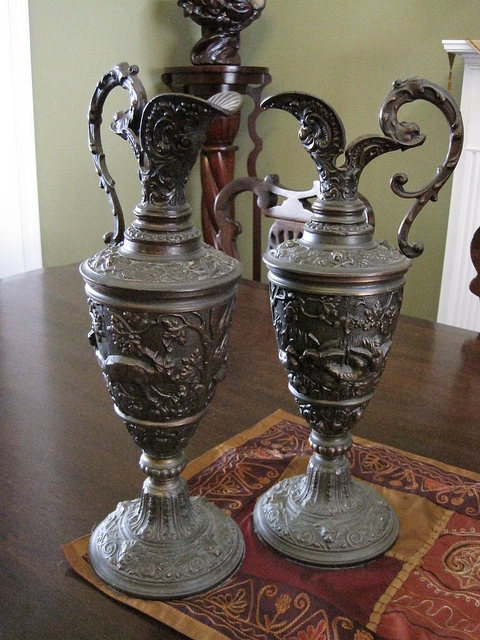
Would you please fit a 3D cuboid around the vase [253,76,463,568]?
[{"bbox_3d":[0.133,0.004,0.827,0.253,0.542,0.235,-2,24,1],"label":"vase"}]

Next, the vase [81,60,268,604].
[{"bbox_3d":[-0.113,0.019,0.814,0.284,0.540,0.234,3,11,11],"label":"vase"}]
